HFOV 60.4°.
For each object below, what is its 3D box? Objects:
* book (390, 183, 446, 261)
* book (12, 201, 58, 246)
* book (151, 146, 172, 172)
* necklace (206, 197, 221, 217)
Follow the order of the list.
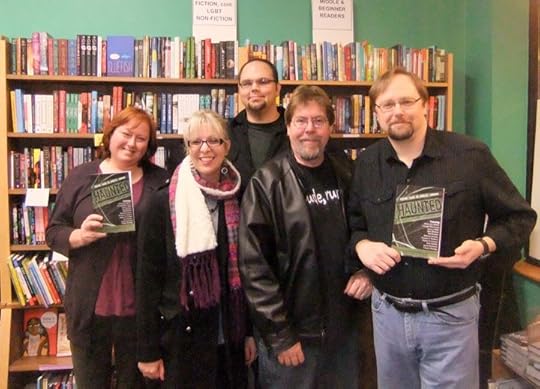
[{"bbox_3d":[0.858,0.158,2.699,0.253,0.395,0.137,1,11,32],"label":"book"},{"bbox_3d":[-1.918,0.225,3.967,0.353,0.434,0.466,1,2,-9],"label":"book"},{"bbox_3d":[-0.906,-0.289,3.897,0.218,0.205,0.051,16,-4,-17],"label":"book"},{"bbox_3d":[-0.381,0.092,3.012,0.045,0.121,0.091,-19,6,46],"label":"necklace"}]
